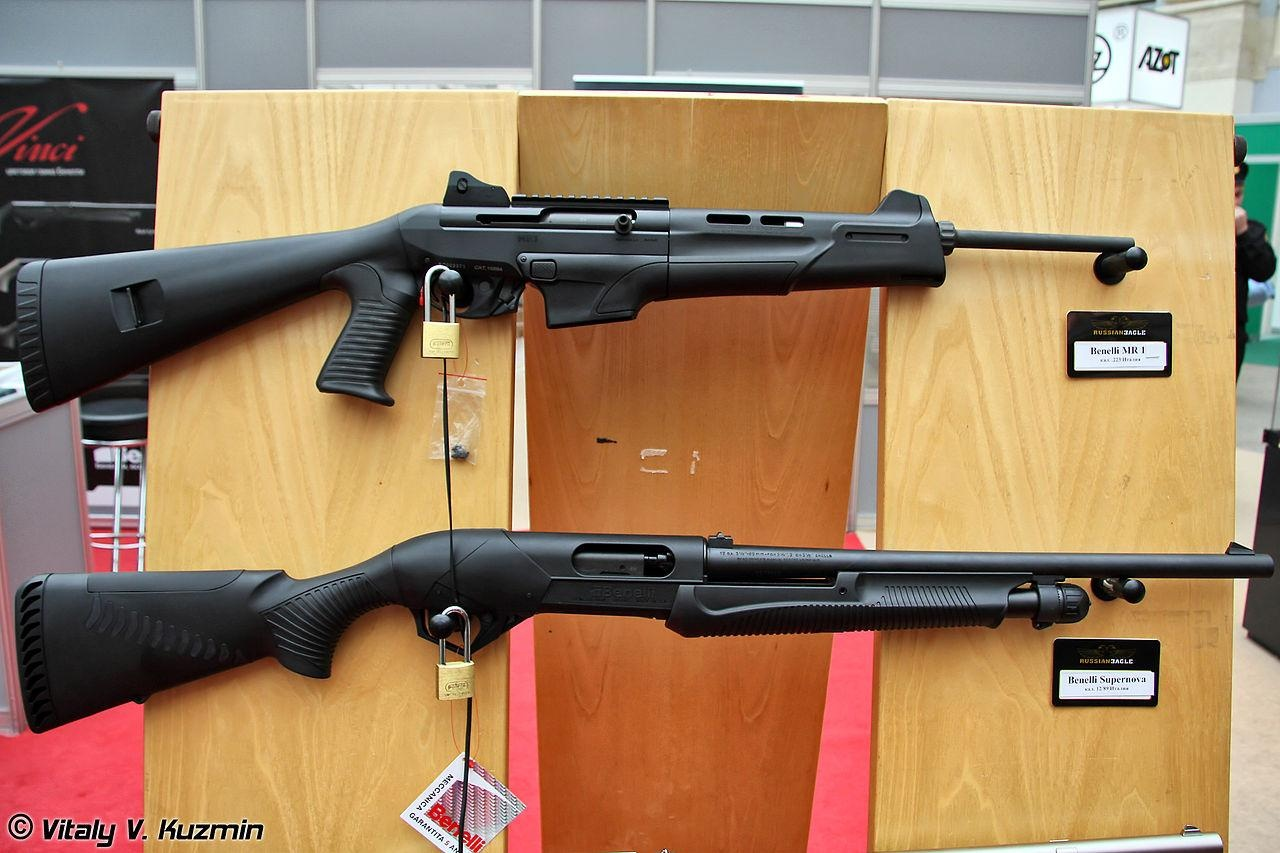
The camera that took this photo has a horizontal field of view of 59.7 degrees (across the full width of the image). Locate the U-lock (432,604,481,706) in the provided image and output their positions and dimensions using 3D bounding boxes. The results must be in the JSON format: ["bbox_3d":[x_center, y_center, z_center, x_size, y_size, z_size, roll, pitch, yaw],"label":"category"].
[{"bbox_3d":[-0.396,0.484,2.379,0.086,0.205,0.101,3,-7,-2],"label":"U-lock"}]

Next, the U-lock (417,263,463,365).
[{"bbox_3d":[-0.423,-0.244,2.380,0.082,0.199,0.081,4,-8,-10],"label":"U-lock"}]
